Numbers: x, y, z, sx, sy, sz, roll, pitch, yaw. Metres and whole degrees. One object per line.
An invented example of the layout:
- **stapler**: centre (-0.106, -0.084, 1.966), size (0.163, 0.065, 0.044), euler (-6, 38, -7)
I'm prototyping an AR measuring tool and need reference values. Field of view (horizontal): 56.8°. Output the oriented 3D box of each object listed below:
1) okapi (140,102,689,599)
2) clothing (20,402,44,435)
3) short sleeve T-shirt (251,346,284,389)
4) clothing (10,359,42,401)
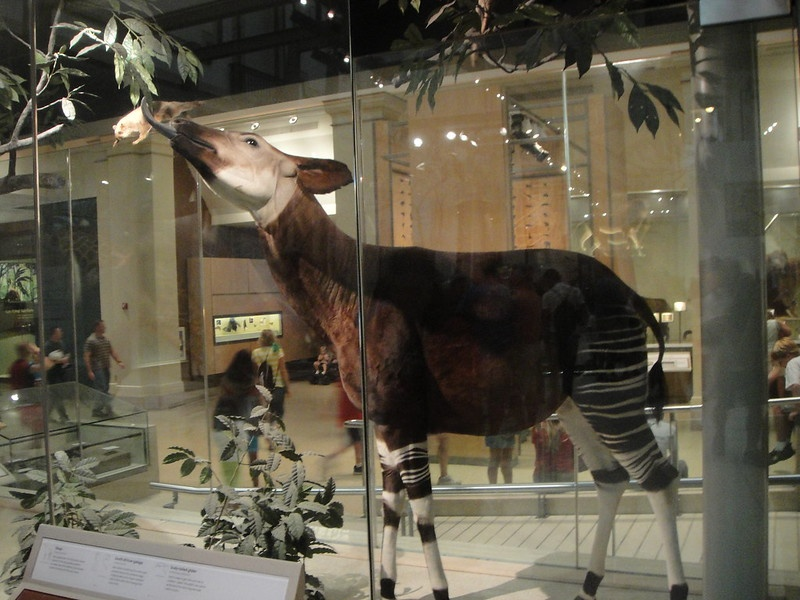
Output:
- **okapi**: centre (0.092, 0.146, 3.065), size (1.857, 1.547, 0.620), euler (-4, -2, 45)
- **clothing**: centre (-1.829, 0.580, 3.747), size (0.138, 0.181, 0.046), euler (-11, 8, 16)
- **short sleeve T-shirt**: centre (-0.637, 0.311, 3.536), size (0.139, 0.216, 0.226), euler (-3, -8, 18)
- **clothing**: centre (-1.886, 0.404, 3.707), size (0.145, 0.219, 0.023), euler (-3, -1, 11)
